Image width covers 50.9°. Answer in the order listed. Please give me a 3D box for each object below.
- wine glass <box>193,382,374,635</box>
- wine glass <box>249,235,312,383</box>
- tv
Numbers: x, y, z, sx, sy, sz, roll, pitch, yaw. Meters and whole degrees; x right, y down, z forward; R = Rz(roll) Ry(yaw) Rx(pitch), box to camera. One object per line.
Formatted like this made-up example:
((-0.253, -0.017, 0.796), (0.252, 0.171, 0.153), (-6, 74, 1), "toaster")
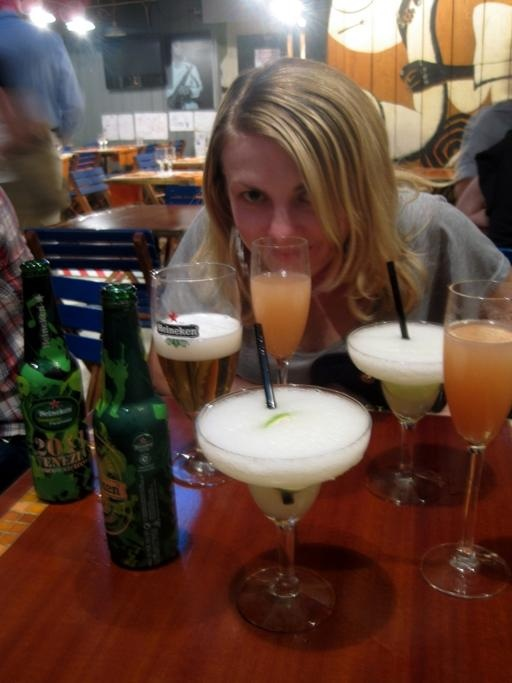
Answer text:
((0.028, 0.188, 0.636), (0.188, 0.235, 0.231), (-7, 16, -19), "wine glass")
((0.048, -0.061, 1.118), (0.124, 0.280, 0.106), (0, 15, 9), "wine glass")
((-2.345, -5.577, 10.577), (0.992, 0.769, 0.499), (7, 26, 10), "tv")
